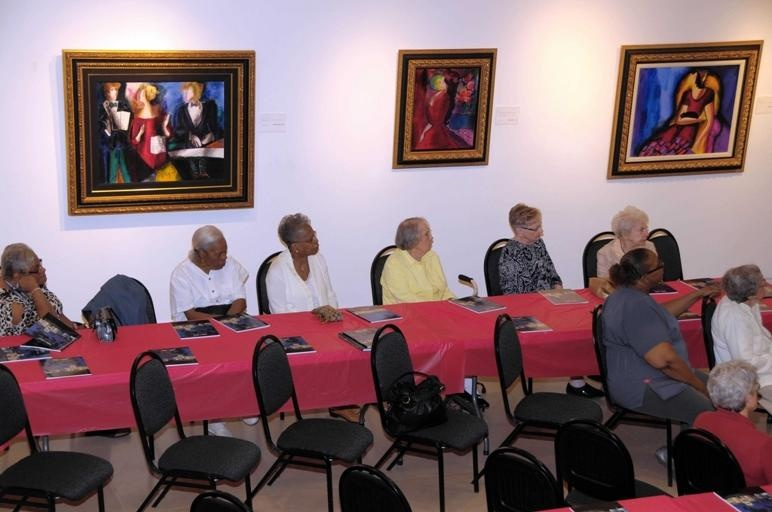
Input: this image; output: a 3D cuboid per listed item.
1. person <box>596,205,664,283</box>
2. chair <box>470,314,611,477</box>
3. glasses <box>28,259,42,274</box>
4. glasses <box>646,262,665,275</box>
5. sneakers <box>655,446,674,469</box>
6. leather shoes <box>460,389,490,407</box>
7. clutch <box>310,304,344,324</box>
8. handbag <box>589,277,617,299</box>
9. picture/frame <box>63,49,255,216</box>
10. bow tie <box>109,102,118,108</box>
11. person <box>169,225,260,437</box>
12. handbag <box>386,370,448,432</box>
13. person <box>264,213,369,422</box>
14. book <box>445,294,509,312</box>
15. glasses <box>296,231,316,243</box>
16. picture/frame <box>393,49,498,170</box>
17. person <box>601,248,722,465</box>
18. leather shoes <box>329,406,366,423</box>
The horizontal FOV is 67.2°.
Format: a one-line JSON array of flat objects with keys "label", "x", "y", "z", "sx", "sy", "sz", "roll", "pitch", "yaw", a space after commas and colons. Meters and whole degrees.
[{"label": "person", "x": 2.141, "y": -0.101, "z": 5.173, "sx": 0.698, "sy": 0.699, "sz": 0.408, "roll": -11, "pitch": 12, "yaw": -39}, {"label": "chair", "x": 1.056, "y": 0.889, "z": 4.392, "sx": 0.999, "sy": 1.350, "sz": 0.786, "roll": -1, "pitch": 7, "yaw": 30}, {"label": "glasses", "x": -2.643, "y": 0.082, "z": 4.390, "sx": 0.068, "sy": 0.095, "sz": 0.091, "roll": -1, "pitch": 26, "yaw": -12}, {"label": "glasses", "x": 1.878, "y": 0.086, "z": 4.043, "sx": 0.096, "sy": 0.027, "sz": 0.073, "roll": -14, "pitch": 4, "yaw": 1}, {"label": "sneakers", "x": 1.990, "y": 1.460, "z": 4.215, "sx": 0.115, "sy": 0.142, "sz": 0.151, "roll": -2, "pitch": 0, "yaw": -12}, {"label": "leather shoes", "x": 0.774, "y": 1.209, "z": 4.955, "sx": 0.198, "sy": 0.100, "sz": 0.272, "roll": -1, "pitch": 9, "yaw": -40}, {"label": "clutch", "x": -0.458, "y": 0.447, "z": 4.469, "sx": 0.135, "sy": 0.064, "sz": 0.158, "roll": -4, "pitch": 15, "yaw": -34}, {"label": "handbag", "x": 1.870, "y": 0.285, "z": 5.065, "sx": 0.144, "sy": 0.070, "sz": 0.189, "roll": -4, "pitch": 11, "yaw": -30}, {"label": "picture/frame", "x": -2.149, "y": -1.178, "z": 5.320, "sx": 1.488, "sy": 1.290, "sz": 0.070, "roll": -3, "pitch": 9, "yaw": -20}, {"label": "bow tie", "x": -2.432, "y": -1.337, "z": 5.190, "sx": 0.053, "sy": 0.040, "sz": 0.053, "roll": 0, "pitch": 4, "yaw": -37}, {"label": "person", "x": -1.385, "y": 0.603, "z": 4.795, "sx": 0.714, "sy": 1.599, "sz": 0.889, "roll": -8, "pitch": 19, "yaw": -35}, {"label": "handbag", "x": 0.187, "y": 0.973, "z": 3.822, "sx": 0.408, "sy": 0.400, "sz": 0.226, "roll": -6, "pitch": 0, "yaw": -20}, {"label": "person", "x": -0.624, "y": 0.446, "z": 4.885, "sx": 0.700, "sy": 1.460, "sz": 0.588, "roll": -2, "pitch": 2, "yaw": 45}, {"label": "book", "x": 0.766, "y": 0.406, "z": 4.885, "sx": 0.439, "sy": 0.023, "sz": 0.477, "roll": -1, "pitch": 10, "yaw": -36}, {"label": "glasses", "x": -0.640, "y": -0.139, "z": 4.735, "sx": 0.105, "sy": 0.060, "sz": 0.102, "roll": -1, "pitch": 9, "yaw": 35}, {"label": "picture/frame", "x": 0.573, "y": -1.552, "z": 5.992, "sx": 1.173, "sy": 1.315, "sz": 0.057, "roll": -3, "pitch": 16, "yaw": -14}, {"label": "person", "x": 2.088, "y": 0.795, "z": 4.260, "sx": 0.917, "sy": 1.703, "sz": 0.701, "roll": -5, "pitch": 10, "yaw": 7}, {"label": "leather shoes", "x": -0.291, "y": 1.298, "z": 4.748, "sx": 0.279, "sy": 0.113, "sz": 0.156, "roll": 5, "pitch": 10, "yaw": 37}]
